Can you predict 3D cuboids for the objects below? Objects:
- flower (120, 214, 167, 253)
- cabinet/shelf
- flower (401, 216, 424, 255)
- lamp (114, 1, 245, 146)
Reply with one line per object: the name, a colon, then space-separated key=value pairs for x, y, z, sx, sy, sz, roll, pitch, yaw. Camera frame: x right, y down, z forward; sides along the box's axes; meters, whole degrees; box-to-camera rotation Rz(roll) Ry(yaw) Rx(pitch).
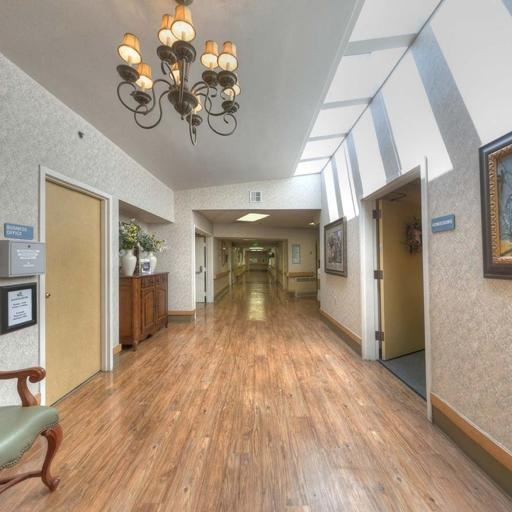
flower: x=-1.706 y=-0.257 z=4.940 sx=0.436 sy=0.469 sz=0.634 roll=-3 pitch=-3 yaw=40
cabinet/shelf: x=-1.594 y=0.721 z=4.989 sx=0.241 sy=1.045 sz=1.143 roll=1 pitch=8 yaw=9
flower: x=1.927 y=-0.252 z=4.239 sx=0.321 sy=0.437 sz=0.180 roll=-6 pitch=9 yaw=-37
lamp: x=-0.616 y=-1.474 z=2.777 sx=0.603 sy=0.973 sz=0.672 roll=2 pitch=-14 yaw=-2
